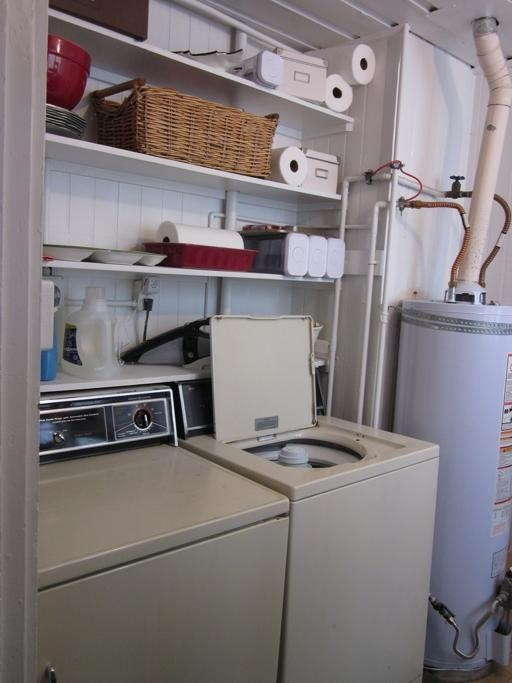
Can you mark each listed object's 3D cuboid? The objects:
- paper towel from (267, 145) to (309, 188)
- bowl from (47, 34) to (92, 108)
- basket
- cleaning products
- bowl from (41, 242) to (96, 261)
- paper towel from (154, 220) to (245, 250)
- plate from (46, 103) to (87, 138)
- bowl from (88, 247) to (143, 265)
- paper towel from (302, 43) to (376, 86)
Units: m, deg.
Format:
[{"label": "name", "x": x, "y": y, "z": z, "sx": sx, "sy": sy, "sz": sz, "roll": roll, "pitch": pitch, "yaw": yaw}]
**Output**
[{"label": "paper towel", "x": 0.128, "y": -0.659, "z": 2.058, "sx": 0.160, "sy": 0.142, "sz": 0.185, "roll": 2, "pitch": 17, "yaw": -29}, {"label": "bowl", "x": -0.501, "y": -0.698, "z": 1.397, "sx": 0.068, "sy": 0.166, "sz": 0.153, "roll": 7, "pitch": 7, "yaw": 12}, {"label": "basket", "x": -0.231, "y": -0.628, "z": 1.793, "sx": 0.328, "sy": 0.201, "sz": 0.513, "roll": 13, "pitch": 14, "yaw": 42}, {"label": "cleaning products", "x": -0.514, "y": -0.029, "z": 1.645, "sx": 0.186, "sy": 0.275, "sz": 0.114, "roll": 4, "pitch": 7, "yaw": -6}, {"label": "bowl", "x": -0.500, "y": -0.240, "z": 1.484, "sx": 0.104, "sy": 0.041, "sz": 0.181, "roll": 7, "pitch": 7, "yaw": 13}, {"label": "paper towel", "x": -0.203, "y": -0.359, "z": 1.816, "sx": 0.206, "sy": 0.084, "sz": 0.107, "roll": 1, "pitch": 0, "yaw": -39}, {"label": "plate", "x": -0.516, "y": -0.579, "z": 1.427, "sx": 0.062, "sy": 0.069, "sz": 0.159, "roll": 6, "pitch": 7, "yaw": 8}, {"label": "bowl", "x": -0.404, "y": -0.244, "z": 1.554, "sx": 0.152, "sy": 0.039, "sz": 0.100, "roll": 2, "pitch": 7, "yaw": -20}, {"label": "paper towel", "x": 0.396, "y": -1.110, "z": 2.243, "sx": 0.200, "sy": 0.199, "sz": 0.346, "roll": -16, "pitch": 28, "yaw": -37}]
